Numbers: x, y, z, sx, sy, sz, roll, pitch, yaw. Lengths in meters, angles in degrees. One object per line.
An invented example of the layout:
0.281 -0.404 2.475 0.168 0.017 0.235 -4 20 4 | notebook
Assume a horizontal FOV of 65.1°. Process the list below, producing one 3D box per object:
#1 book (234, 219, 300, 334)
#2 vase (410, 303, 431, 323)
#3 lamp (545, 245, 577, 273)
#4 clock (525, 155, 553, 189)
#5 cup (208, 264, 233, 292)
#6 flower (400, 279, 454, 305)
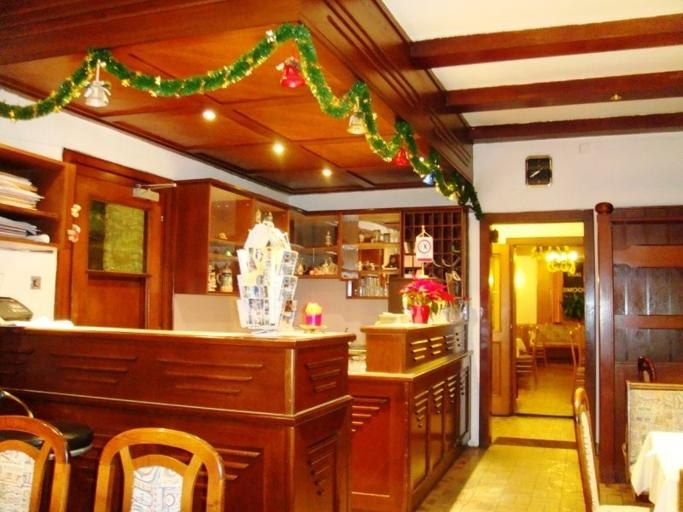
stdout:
-0.421 0.114 3.004 0.329 0.638 0.249 2 -4 -6 | book
0.773 0.568 5.219 0.179 0.189 0.140 1 -4 5 | vase
5.600 0.088 13.626 0.837 0.302 0.844 4 -8 15 | lamp
2.593 -1.099 6.983 0.442 0.532 0.056 2 2 23 | clock
-1.417 0.269 6.253 0.191 0.311 0.311 3 -4 -45 | cup
0.865 0.357 5.404 0.322 0.217 0.324 2 -4 7 | flower
